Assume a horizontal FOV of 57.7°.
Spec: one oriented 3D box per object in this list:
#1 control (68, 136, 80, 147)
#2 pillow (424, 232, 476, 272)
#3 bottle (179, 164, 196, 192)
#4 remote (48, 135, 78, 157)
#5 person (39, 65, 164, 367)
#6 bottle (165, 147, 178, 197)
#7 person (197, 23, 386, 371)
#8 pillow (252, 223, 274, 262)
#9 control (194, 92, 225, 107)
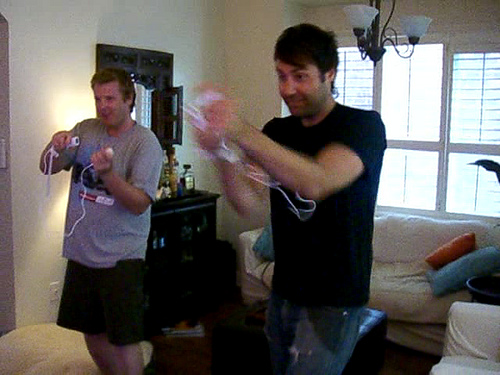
[{"bbox_3d":[-0.867,-0.229,2.229,0.052,0.054,0.077,-1,5,-22],"label":"control"},{"bbox_3d":[1.533,0.477,3.485,0.300,0.092,0.306,-38,0,32],"label":"pillow"},{"bbox_3d":[-0.526,-0.093,3.859,0.114,0.222,0.393,1,5,8],"label":"bottle"},{"bbox_3d":[-0.899,-0.211,2.200,0.141,0.082,0.039,-5,48,0],"label":"remote"},{"bbox_3d":[-0.716,0.142,2.235,0.568,1.498,0.377,5,6,41],"label":"person"},{"bbox_3d":[-0.643,-0.136,3.676,0.101,0.386,0.285,0,5,-11],"label":"bottle"},{"bbox_3d":[0.137,0.063,1.368,0.494,1.122,0.384,2,4,17],"label":"person"},{"bbox_3d":[0.091,0.423,3.582,0.150,0.324,0.320,0,5,-7],"label":"pillow"},{"bbox_3d":[-0.112,-0.243,1.238,0.080,0.042,0.016,0,4,-9],"label":"control"}]
